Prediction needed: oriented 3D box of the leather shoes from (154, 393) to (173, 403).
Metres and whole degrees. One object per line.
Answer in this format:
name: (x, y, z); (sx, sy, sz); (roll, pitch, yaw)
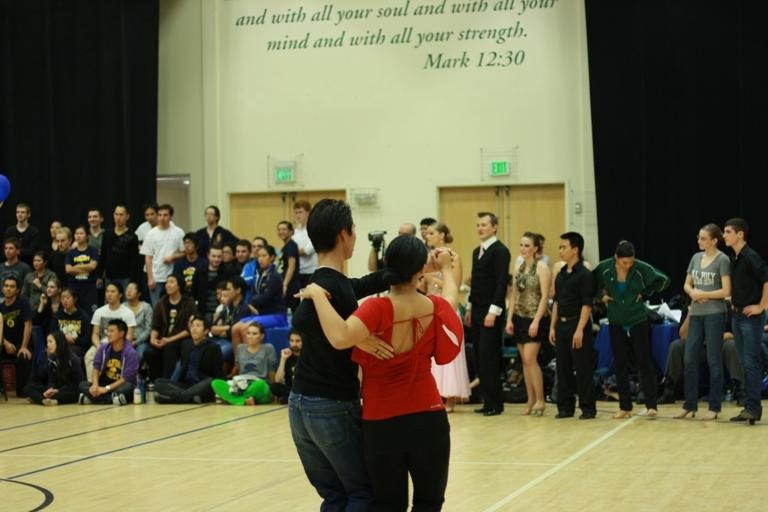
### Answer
leather shoes: (-3.428, 2.203, 13.331); (0.180, 0.078, 0.191); (3, -5, 7)

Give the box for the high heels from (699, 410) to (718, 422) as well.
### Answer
high heels: (4.364, 2.115, 11.464); (0.316, 0.138, 0.108); (7, -8, -25)

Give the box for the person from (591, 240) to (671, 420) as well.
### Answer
person: (3.431, 0.977, 11.969); (0.942, 2.445, 0.969); (-1, 0, 18)

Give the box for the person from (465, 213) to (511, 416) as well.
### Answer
person: (1.477, 0.799, 12.103); (0.426, 2.795, 0.609); (-1, 0, -23)

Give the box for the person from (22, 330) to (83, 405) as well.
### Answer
person: (-5.122, 1.845, 13.986); (0.911, 1.353, 1.107); (-2, -5, 18)

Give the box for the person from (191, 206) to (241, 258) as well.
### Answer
person: (-3.148, -0.373, 15.685); (1.264, 1.063, 0.360); (-6, -12, 2)

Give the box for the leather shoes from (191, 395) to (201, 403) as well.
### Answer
leather shoes: (-2.904, 2.194, 13.253); (0.097, 0.078, 0.113); (-2, -7, 45)

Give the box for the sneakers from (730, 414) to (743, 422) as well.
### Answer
sneakers: (4.596, 2.101, 11.201); (0.154, 0.065, 0.083); (3, -2, 7)

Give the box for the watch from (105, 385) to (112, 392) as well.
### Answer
watch: (-4.282, 2.043, 13.363); (0.063, 0.101, 0.099); (-8, -5, -11)

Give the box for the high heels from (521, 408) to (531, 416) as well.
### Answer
high heels: (2.000, 2.157, 12.054); (0.118, 0.110, 0.186); (-1, 0, 18)

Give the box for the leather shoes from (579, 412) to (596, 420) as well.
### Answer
leather shoes: (2.757, 2.159, 11.672); (0.239, 0.098, 0.079); (11, -11, -37)

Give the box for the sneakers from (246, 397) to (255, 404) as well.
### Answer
sneakers: (-2.026, 2.167, 12.985); (0.123, 0.107, 0.080); (-1, 0, -11)

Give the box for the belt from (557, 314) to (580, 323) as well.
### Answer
belt: (2.523, 0.843, 11.778); (0.269, 0.073, 0.058); (-2, 0, 19)

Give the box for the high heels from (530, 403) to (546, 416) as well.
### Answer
high heels: (2.157, 2.140, 12.076); (0.195, 0.154, 0.322); (-2, 0, 27)

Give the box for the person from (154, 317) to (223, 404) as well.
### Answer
person: (-3.016, 1.629, 13.412); (1.084, 1.309, 0.978); (3, 0, -15)

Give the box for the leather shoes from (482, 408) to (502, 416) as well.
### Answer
leather shoes: (1.519, 2.172, 12.075); (0.259, 0.112, 0.090); (3, -1, -1)

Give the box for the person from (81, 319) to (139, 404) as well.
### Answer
person: (-4.304, 1.765, 13.425); (0.870, 1.101, 0.293); (-1, 0, 10)
